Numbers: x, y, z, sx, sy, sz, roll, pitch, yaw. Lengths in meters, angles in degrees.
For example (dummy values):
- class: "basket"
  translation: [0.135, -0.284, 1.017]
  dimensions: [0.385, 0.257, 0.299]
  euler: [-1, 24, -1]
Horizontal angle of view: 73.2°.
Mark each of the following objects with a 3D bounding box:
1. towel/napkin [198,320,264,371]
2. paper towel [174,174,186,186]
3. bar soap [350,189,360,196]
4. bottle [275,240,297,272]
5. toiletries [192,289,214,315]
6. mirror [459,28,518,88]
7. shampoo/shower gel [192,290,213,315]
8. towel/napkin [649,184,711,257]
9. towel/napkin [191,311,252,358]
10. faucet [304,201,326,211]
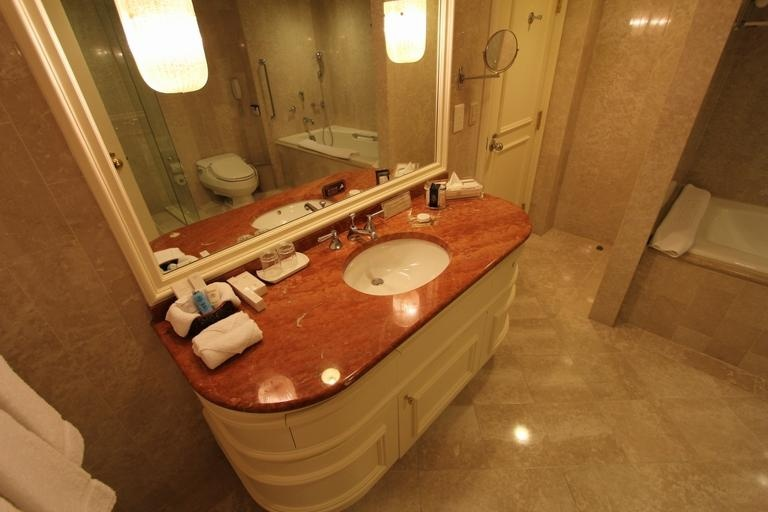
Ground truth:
- class: "towel/napkin"
  translation: [-0.690, 0.411, 2.297]
  dimensions: [0.217, 0.082, 0.193]
  euler: [-30, 47, -35]
- class: "paper towel"
  translation: [-0.927, -0.344, 2.348]
  dimensions: [0.051, 0.040, 0.071]
  euler: [-1, 3, -6]
- class: "bar soap"
  translation: [-0.169, -0.348, 2.866]
  dimensions: [0.044, 0.014, 0.032]
  euler: [-15, 40, -22]
- class: "bottle"
  translation: [-0.477, 0.000, 2.641]
  dimensions: [0.112, 0.132, 0.118]
  euler: [-1, 36, 0]
- class: "toiletries"
  translation: [-0.815, 0.209, 2.336]
  dimensions: [0.070, 0.119, 0.031]
  euler: [-24, 6, -25]
- class: "mirror"
  translation: [0.662, -1.187, 3.140]
  dimensions: [0.292, 0.350, 0.446]
  euler: [14, 37, 24]
- class: "shampoo/shower gel"
  translation: [-0.824, 0.212, 2.333]
  dimensions: [0.068, 0.116, 0.030]
  euler: [-23, 6, -25]
- class: "towel/napkin"
  translation: [1.841, -0.210, 3.253]
  dimensions: [0.204, 0.074, 0.630]
  euler: [26, 64, 29]
- class: "towel/napkin"
  translation: [-0.691, 0.330, 2.236]
  dimensions: [0.203, 0.076, 0.175]
  euler: [-29, 51, -35]
- class: "faucet"
  translation: [-0.366, -0.271, 2.763]
  dimensions: [0.062, 0.034, 0.163]
  euler: [2, 6, 36]
